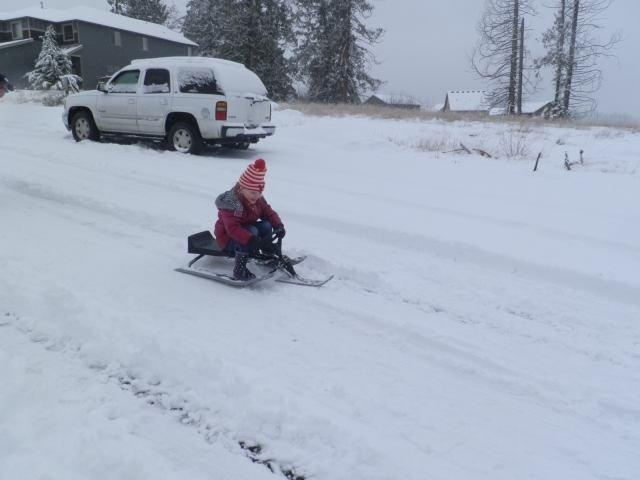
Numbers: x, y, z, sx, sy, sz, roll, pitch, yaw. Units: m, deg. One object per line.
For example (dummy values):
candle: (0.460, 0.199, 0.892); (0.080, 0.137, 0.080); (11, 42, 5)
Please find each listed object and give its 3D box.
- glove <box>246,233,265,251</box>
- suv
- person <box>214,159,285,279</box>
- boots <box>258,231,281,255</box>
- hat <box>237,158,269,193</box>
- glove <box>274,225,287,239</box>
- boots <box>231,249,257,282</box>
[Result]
glove: (-0.723, 0.002, 6.702); (0.181, 0.224, 0.361); (0, 17, -6)
suv: (-3.062, -3.213, 12.335); (3.718, 1.656, 2.183); (14, 26, 20)
person: (-0.801, -0.280, 6.763); (0.694, 1.345, 0.794); (-2, 16, -16)
boots: (-0.580, 0.021, 6.782); (0.255, 0.097, 0.187); (25, 54, 39)
hat: (-0.766, -0.718, 6.613); (0.300, 0.400, 0.337); (-2, 16, -12)
glove: (-0.474, -0.071, 6.801); (0.129, 0.131, 0.100); (-33, 9, 24)
boots: (-0.799, 0.297, 6.715); (0.331, 0.388, 0.193); (7, 10, 10)
